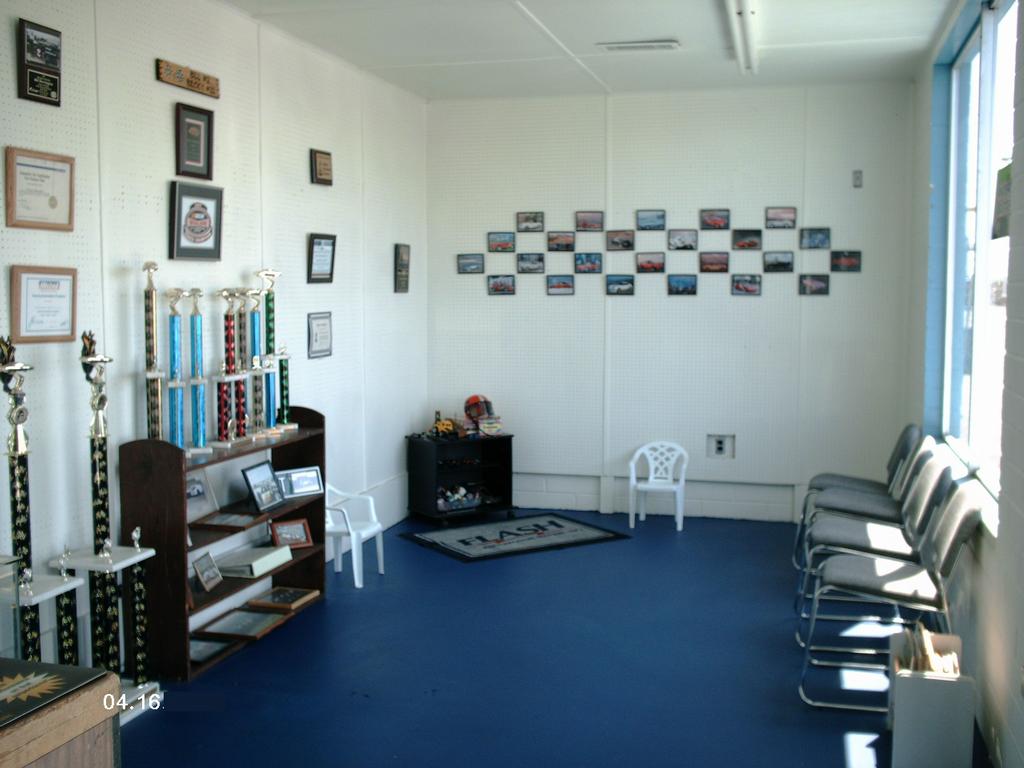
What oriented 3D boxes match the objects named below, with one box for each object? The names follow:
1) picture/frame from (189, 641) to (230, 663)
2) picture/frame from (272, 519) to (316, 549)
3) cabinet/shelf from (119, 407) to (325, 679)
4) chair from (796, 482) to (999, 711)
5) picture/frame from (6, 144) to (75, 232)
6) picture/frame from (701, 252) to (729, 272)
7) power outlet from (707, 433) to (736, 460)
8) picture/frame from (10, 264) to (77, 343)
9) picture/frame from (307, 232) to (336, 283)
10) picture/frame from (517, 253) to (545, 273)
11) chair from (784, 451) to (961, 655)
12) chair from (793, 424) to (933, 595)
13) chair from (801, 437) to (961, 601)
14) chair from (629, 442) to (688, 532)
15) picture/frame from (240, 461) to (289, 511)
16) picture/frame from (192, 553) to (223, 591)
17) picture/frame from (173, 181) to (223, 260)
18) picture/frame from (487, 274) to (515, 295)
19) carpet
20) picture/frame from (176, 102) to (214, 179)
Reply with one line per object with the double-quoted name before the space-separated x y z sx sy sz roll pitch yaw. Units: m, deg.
"picture/frame" -1.756 1.515 4.326 0.196 0.040 0.374 -3 8 -23
"picture/frame" -1.484 1.000 5.042 0.245 0.226 0.026 4 -23 -37
"cabinet/shelf" -1.712 0.920 4.334 0.363 1.185 1.303 1 5 16
"chair" 2.001 1.071 4.069 0.893 1.257 0.887 1 10 -5
"picture/frame" -2.232 -0.916 3.513 0.030 0.440 0.436 3 4 23
"picture/frame" 1.852 -1.105 6.783 0.163 0.132 0.024 1 4 15
"power outlet" 1.943 0.560 6.900 0.221 0.225 0.081 1 1 15
"picture/frame" -2.234 -0.383 3.537 0.026 0.396 0.372 1 2 24
"picture/frame" -1.433 -0.943 5.564 0.027 0.386 0.380 4 3 17
"picture/frame" 0.188 -1.152 7.097 0.171 0.156 0.026 0 3 16
"chair" 2.202 0.844 4.723 0.813 1.189 0.825 -2 22 -7
"chair" 2.384 0.818 5.014 0.559 0.726 1.070 2 5 18
"chair" 2.201 0.727 4.678 0.704 0.956 0.658 0 36 18
"chair" 1.340 0.895 6.841 0.549 0.707 0.623 1 7 11
"picture/frame" -1.602 0.665 4.739 0.113 0.306 0.311 -22 -1 15
"picture/frame" -1.797 1.096 4.389 0.020 0.206 0.197 -15 2 17
"picture/frame" -1.866 -0.956 4.458 0.443 0.451 0.046 11 9 31
"picture/frame" -0.111 -0.940 7.167 0.281 0.198 0.032 0 7 3
"carpet" 0.028 1.280 6.430 1.670 0.042 0.928 -3 8 -25
"picture/frame" -1.885 -1.419 4.422 0.051 0.415 0.265 3 7 23
